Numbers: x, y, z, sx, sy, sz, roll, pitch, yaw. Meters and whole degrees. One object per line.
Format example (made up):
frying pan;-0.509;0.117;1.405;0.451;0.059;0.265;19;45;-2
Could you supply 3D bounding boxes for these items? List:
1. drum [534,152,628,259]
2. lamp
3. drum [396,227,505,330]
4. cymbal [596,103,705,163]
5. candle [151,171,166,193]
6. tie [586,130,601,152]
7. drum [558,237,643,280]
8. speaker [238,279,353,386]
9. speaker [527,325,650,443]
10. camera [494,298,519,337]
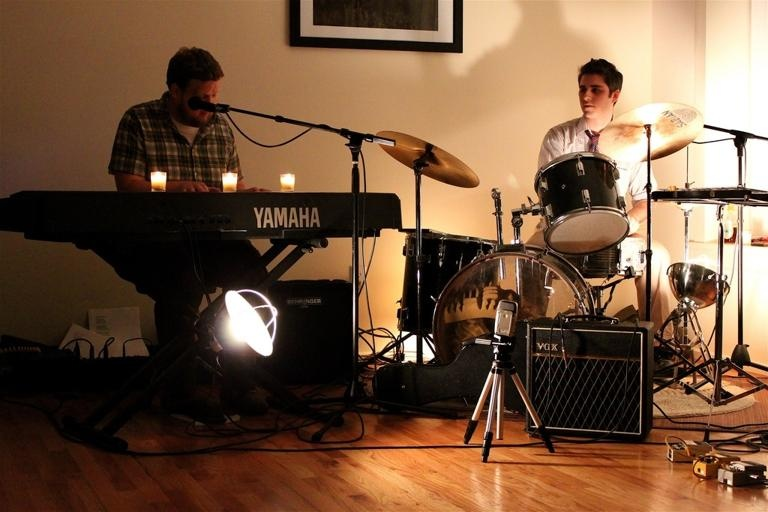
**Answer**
drum;1.054;-0.261;3.667;0.459;0.361;0.461;0;-26;0
lamp;-0.718;0.321;3.501;0.346;0.322;0.601;2;-2;-13
drum;0.429;0.152;4.421;0.560;0.571;0.583;7;2;15
cymbal;1.482;-0.686;3.956;0.548;0.246;0.466;-1;-3;39
candle;-1.064;-0.357;3.346;0.064;0.104;0.137;2;-2;-21
tie;1.336;-0.743;4.520;0.060;0.201;0.142;0;9;27
drum;1.270;0.029;3.964;0.331;0.174;0.271;-1;-3;2
speaker;-0.553;0.433;4.325;0.699;0.742;0.518;0;-1;-8
speaker;0.981;0.603;3.298;0.512;0.542;0.208;0;-1;15
camera;0.541;0.283;3.150;0.099;0.179;0.092;9;3;6
